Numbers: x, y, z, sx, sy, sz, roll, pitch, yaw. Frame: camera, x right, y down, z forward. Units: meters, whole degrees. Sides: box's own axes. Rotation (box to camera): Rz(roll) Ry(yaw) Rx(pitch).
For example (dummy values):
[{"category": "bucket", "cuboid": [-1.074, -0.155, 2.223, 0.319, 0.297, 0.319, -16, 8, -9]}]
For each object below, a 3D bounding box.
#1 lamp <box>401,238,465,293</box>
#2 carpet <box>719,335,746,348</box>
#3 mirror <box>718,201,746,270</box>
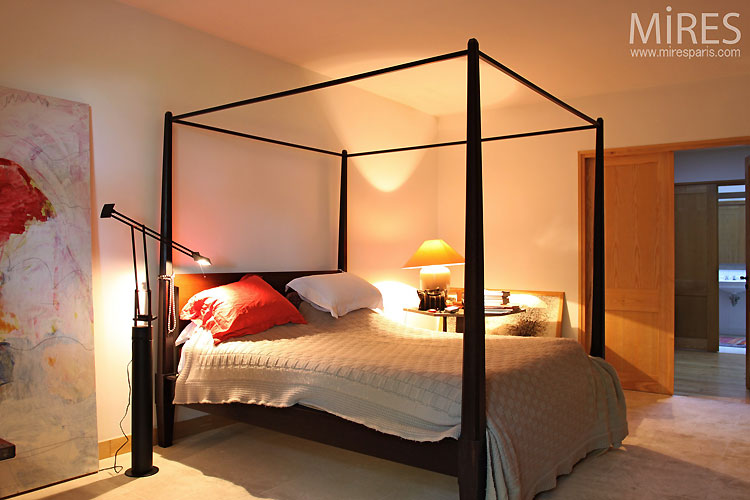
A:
[{"category": "lamp", "cuboid": [0.686, 0.194, 6.657, 0.686, 0.662, 0.722, -6, 8, -18]}, {"category": "carpet", "cuboid": [5.740, 1.491, 9.061, 0.437, 0.005, 0.381, -3, 2, -43]}, {"category": "mirror", "cuboid": [5.953, -0.246, 9.432, 0.370, 1.163, 0.222, 3, 6, 30]}]
